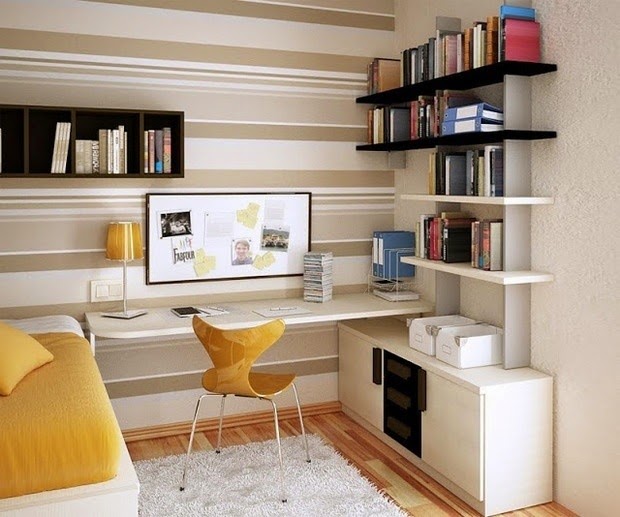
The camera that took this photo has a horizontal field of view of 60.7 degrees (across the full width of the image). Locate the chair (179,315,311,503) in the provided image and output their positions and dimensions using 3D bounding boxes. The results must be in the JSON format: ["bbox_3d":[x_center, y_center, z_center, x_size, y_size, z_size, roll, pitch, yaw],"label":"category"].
[{"bbox_3d":[-0.340,0.772,2.951,0.651,0.929,0.597,1,3,6],"label":"chair"}]

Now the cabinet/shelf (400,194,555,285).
[{"bbox_3d":[0.920,-0.092,2.904,0.392,0.519,0.750,-7,9,-20],"label":"cabinet/shelf"}]

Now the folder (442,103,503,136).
[{"bbox_3d":[0.837,-0.710,2.776,0.176,0.080,0.238,-2,2,-26],"label":"folder"}]

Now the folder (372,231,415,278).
[{"bbox_3d":[0.539,-0.038,3.809,0.302,0.424,0.311,0,4,-9],"label":"folder"}]

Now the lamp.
[{"bbox_3d":[-1.129,0.067,3.185,0.280,0.560,0.344,-6,9,-18],"label":"lamp"}]
